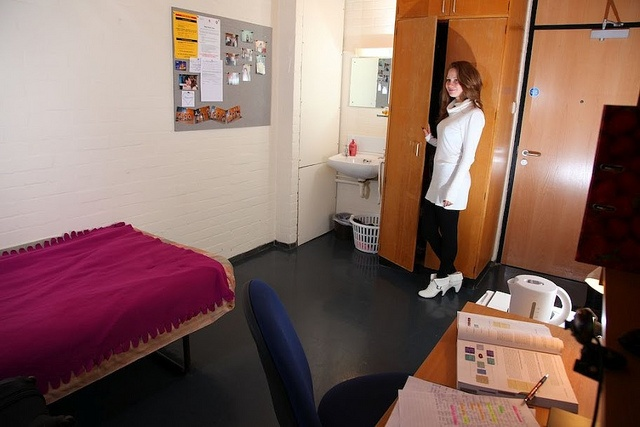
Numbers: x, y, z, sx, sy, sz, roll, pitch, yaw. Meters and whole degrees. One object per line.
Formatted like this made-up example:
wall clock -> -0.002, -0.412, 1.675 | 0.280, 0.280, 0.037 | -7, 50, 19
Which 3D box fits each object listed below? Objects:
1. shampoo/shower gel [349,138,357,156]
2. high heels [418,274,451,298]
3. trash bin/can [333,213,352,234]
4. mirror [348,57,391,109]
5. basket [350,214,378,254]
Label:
shampoo/shower gel -> 0.414, -0.824, 5.154 | 0.116, 0.183, 0.147 | 6, 20, 10
high heels -> 1.111, 0.674, 3.935 | 0.384, 0.205, 0.139 | -10, 16, -29
trash bin/can -> 0.295, 0.100, 5.194 | 0.224, 0.201, 0.219 | 11, 26, 28
mirror -> 0.593, -1.558, 4.995 | 0.565, 0.569, 0.142 | 6, 14, 22
basket -> 0.550, 0.257, 4.946 | 0.397, 0.312, 0.407 | -2, 13, -8
